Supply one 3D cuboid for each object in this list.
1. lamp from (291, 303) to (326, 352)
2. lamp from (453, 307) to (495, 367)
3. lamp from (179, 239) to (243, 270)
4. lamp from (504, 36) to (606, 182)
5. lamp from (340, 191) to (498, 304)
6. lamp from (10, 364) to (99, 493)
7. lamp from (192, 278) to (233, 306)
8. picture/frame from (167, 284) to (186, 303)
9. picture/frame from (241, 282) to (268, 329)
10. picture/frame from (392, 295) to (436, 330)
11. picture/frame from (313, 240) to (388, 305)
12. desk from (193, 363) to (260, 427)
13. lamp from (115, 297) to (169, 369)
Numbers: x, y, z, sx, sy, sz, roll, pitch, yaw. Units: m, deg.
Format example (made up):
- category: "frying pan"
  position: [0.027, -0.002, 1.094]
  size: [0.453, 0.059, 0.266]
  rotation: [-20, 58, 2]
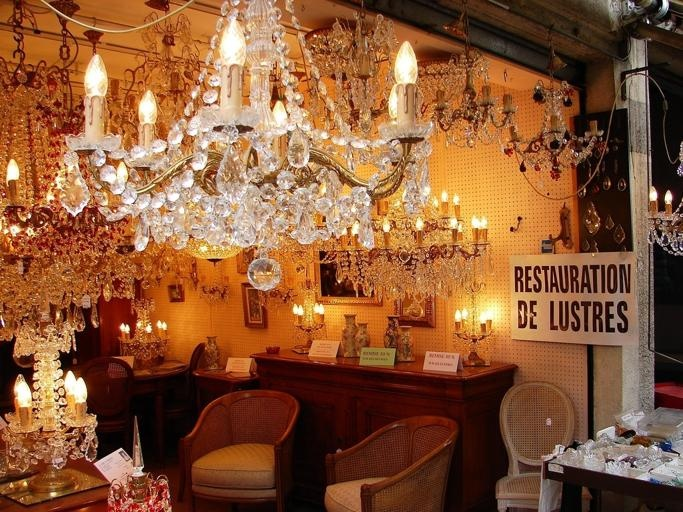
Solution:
- category: "lamp"
  position: [-0.349, 0.771, 6.434]
  size: [0.386, 0.733, 0.430]
  rotation: [2, 1, -2]
- category: "lamp"
  position: [1.163, 0.770, 5.456]
  size: [0.452, 0.643, 0.406]
  rotation: [4, -11, -22]
- category: "lamp"
  position: [-0.927, -0.033, 4.315]
  size: [0.452, 0.260, 0.493]
  rotation: [1, -5, 4]
- category: "lamp"
  position: [1.588, -1.150, 4.490]
  size: [0.708, 1.044, 1.558]
  rotation: [0, -3, 24]
- category: "lamp"
  position: [0.694, -0.010, 5.047]
  size: [0.955, 0.858, 1.067]
  rotation: [1, -7, -6]
- category: "lamp"
  position: [-1.815, 1.092, 3.718]
  size: [0.517, 0.766, 0.957]
  rotation: [2, -3, -26]
- category: "lamp"
  position: [-1.621, 0.462, 7.702]
  size: [0.311, 0.223, 0.335]
  rotation: [1, -1, 15]
- category: "picture/frame"
  position: [-2.314, 0.530, 8.310]
  size: [0.228, 0.275, 0.052]
  rotation: [-1, -3, 26]
- category: "picture/frame"
  position: [-1.054, 0.607, 7.207]
  size: [0.090, 0.562, 0.514]
  rotation: [3, -4, -41]
- category: "picture/frame"
  position: [0.715, 0.548, 5.741]
  size: [0.323, 0.317, 0.029]
  rotation: [-1, -1, 39]
- category: "picture/frame"
  position: [0.103, 0.166, 5.522]
  size: [0.534, 0.587, 0.042]
  rotation: [7, 13, 39]
- category: "desk"
  position: [-1.328, 1.693, 6.747]
  size: [0.644, 0.737, 0.478]
  rotation: [2, 2, 32]
- category: "lamp"
  position: [-2.660, 1.057, 8.101]
  size: [0.708, 1.118, 0.790]
  rotation: [0, 0, -7]
